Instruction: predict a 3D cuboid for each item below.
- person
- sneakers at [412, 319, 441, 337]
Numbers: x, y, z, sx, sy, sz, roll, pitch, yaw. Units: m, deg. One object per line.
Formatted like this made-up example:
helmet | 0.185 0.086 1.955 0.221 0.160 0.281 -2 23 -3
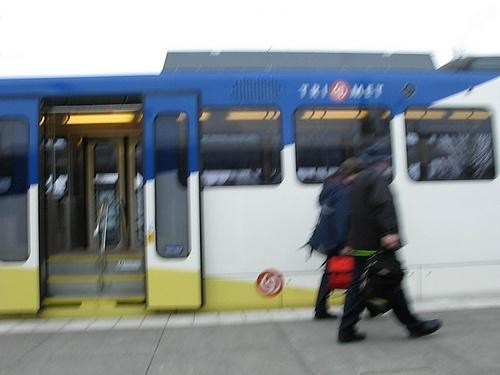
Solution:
person | 1.387 0.644 6.795 0.925 2.377 1.275 -2 2 -27
sneakers | 2.098 1.685 6.514 0.277 0.137 0.101 -26 15 7
